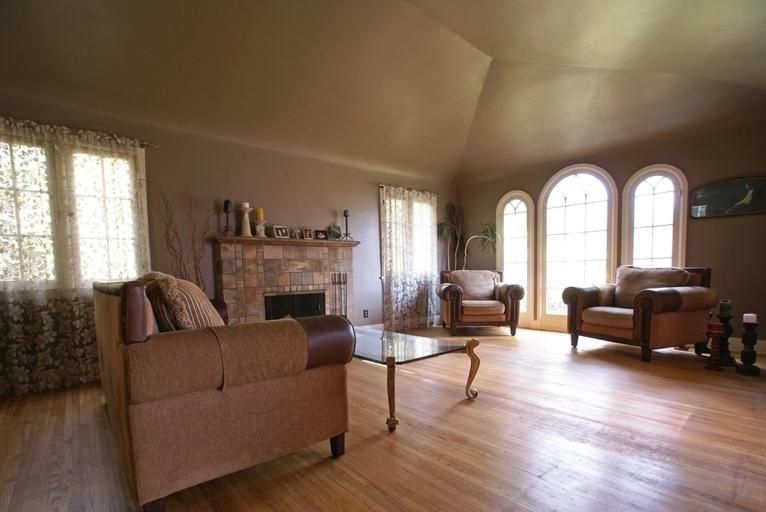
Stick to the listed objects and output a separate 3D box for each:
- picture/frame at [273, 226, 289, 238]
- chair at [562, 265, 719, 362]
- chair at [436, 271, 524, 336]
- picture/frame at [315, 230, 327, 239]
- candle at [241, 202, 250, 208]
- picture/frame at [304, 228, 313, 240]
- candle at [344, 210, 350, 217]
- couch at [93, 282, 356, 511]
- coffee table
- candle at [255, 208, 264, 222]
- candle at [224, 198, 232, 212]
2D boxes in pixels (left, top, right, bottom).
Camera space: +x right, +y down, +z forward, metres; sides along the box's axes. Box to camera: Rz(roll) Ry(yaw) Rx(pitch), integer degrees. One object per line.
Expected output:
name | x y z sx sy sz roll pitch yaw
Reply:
picture/frame | -1.398 -0.324 7.016 0.015 0.138 0.198 -24 -17 38
chair | 3.292 0.677 6.738 1.204 1.149 1.500 1 -1 -22
chair | 1.492 0.702 8.087 1.232 0.985 0.953 0 0 2
picture/frame | -0.900 -0.302 7.402 0.015 0.103 0.149 -31 -22 32
candle | -1.800 -0.654 6.730 0.093 0.070 0.093 -1 4 -19
picture/frame | -1.063 -0.310 7.258 0.066 0.191 0.190 0 0 38
candle | -0.540 -0.626 7.609 0.087 0.094 0.085 -1 -2 21
couch | -1.446 0.539 4.585 1.570 1.493 2.858 -3 -1 -30
coffee table | 0.228 1.414 5.236 0.921 0.428 1.323 -2 1 -33
candle | -1.643 -0.551 6.869 0.126 0.178 0.235 -2 1 -12
candle | -2.007 -0.649 6.650 0.095 0.183 0.171 -2 1 -10
